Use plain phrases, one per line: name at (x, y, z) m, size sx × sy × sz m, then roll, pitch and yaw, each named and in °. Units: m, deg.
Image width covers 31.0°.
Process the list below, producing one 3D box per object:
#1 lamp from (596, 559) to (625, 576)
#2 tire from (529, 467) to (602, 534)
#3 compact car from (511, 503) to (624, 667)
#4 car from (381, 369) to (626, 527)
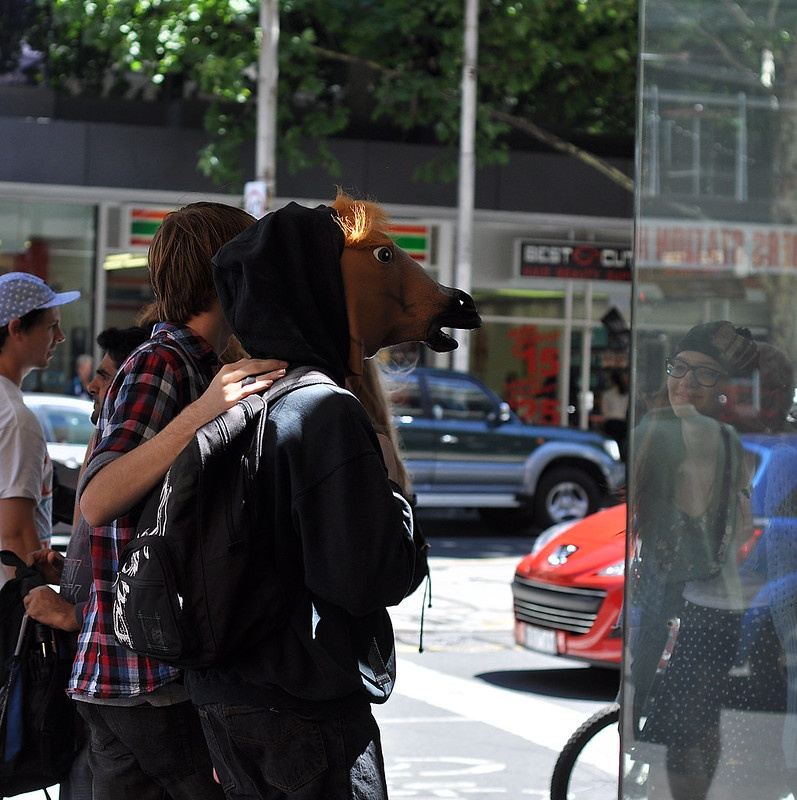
lamp at (0.983, 0.787, 6.683) m, size 0.111 × 0.076 × 0.077 m, roll 2°, pitch 3°, yaw -5°
tire at (1.421, 0.860, 12.445) m, size 0.800 × 0.659 × 0.261 m, roll -1°, pitch -6°, yaw -22°
compact car at (0.846, 0.894, 6.912) m, size 0.497 × 0.736 × 0.902 m, roll 3°, pitch 3°, yaw -5°
car at (0.890, 0.479, 13.191) m, size 2.465 × 1.017 × 1.134 m, roll -3°, pitch 2°, yaw -15°
